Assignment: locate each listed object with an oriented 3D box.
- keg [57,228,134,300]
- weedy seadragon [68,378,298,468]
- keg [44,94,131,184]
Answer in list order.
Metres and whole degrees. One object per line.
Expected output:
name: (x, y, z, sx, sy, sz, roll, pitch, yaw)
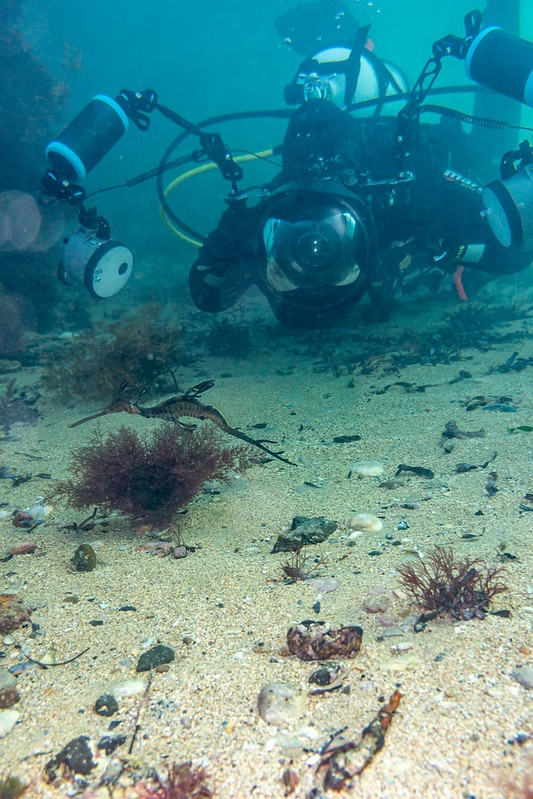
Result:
keg: (-1.403, -1.170, 6.100, 0.430, 0.547, 0.557, 1, 11, 36)
weedy seadragon: (-0.542, 0.080, 4.298, 1.382, 0.289, 0.470, 6, 28, 32)
keg: (-1.492, -2.142, 5.918, 0.271, 0.782, 0.812, 1, 10, 34)
